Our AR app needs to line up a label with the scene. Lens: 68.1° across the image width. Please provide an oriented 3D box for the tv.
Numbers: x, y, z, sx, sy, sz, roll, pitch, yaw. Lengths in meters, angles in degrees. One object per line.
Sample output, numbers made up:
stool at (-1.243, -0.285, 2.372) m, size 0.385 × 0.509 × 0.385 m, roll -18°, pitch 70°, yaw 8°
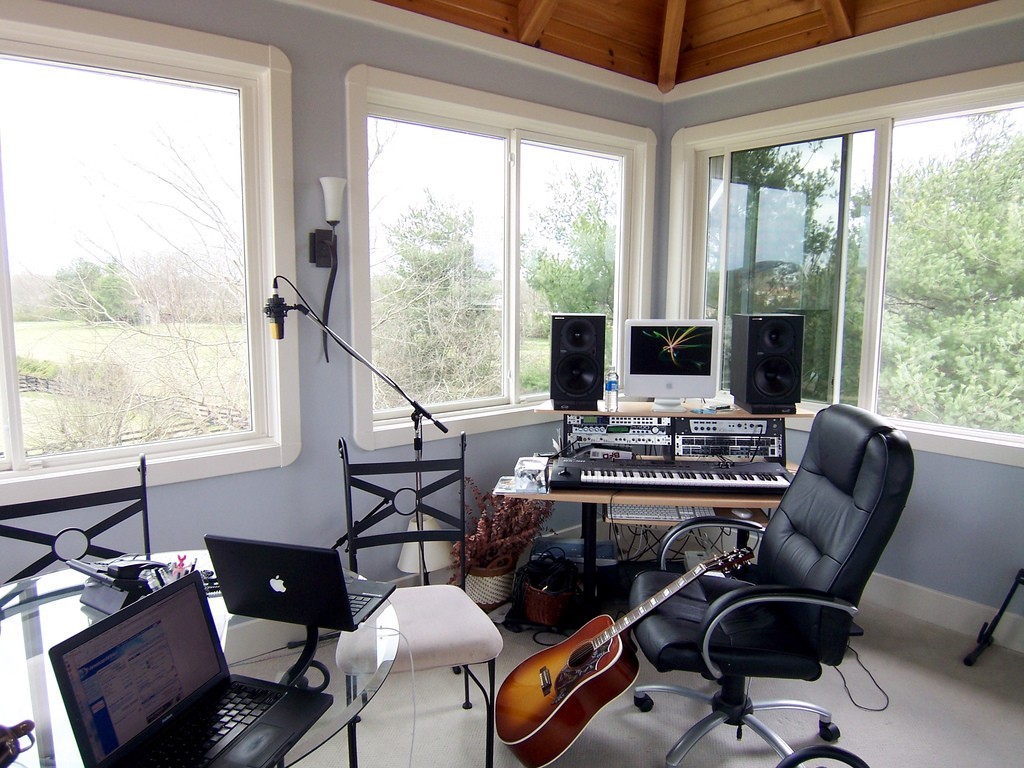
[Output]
tv at (0.811, -0.106, 3.857) m, size 0.463 × 0.450 × 0.156 m, roll 0°, pitch 5°, yaw 1°

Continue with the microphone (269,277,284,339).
microphone at (-1.096, -0.347, 3.486) m, size 0.078 × 0.302 × 0.283 m, roll -5°, pitch 10°, yaw -18°

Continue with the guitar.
guitar at (0.312, 1.046, 2.989) m, size 0.787 × 0.676 × 0.475 m, roll -5°, pitch 10°, yaw -22°

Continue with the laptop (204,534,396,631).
laptop at (-0.694, 0.593, 2.422) m, size 0.446 × 0.285 × 0.344 m, roll 3°, pitch 12°, yaw 11°

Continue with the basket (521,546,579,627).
basket at (0.188, 1.037, 3.796) m, size 0.256 × 0.321 × 0.337 m, roll 1°, pitch -11°, yaw 7°

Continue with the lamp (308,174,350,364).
lamp at (-0.881, -0.646, 3.683) m, size 0.217 × 0.701 × 0.124 m, roll -7°, pitch 11°, yaw -27°
